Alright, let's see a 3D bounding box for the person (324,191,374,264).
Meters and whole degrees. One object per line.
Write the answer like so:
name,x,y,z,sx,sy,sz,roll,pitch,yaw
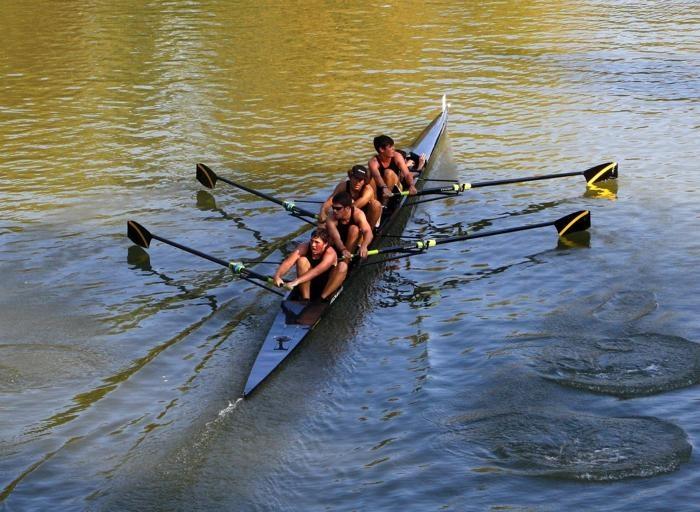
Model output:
person,-0.039,-0.646,19.256,1.044,1.613,1.273,-3,11,27
